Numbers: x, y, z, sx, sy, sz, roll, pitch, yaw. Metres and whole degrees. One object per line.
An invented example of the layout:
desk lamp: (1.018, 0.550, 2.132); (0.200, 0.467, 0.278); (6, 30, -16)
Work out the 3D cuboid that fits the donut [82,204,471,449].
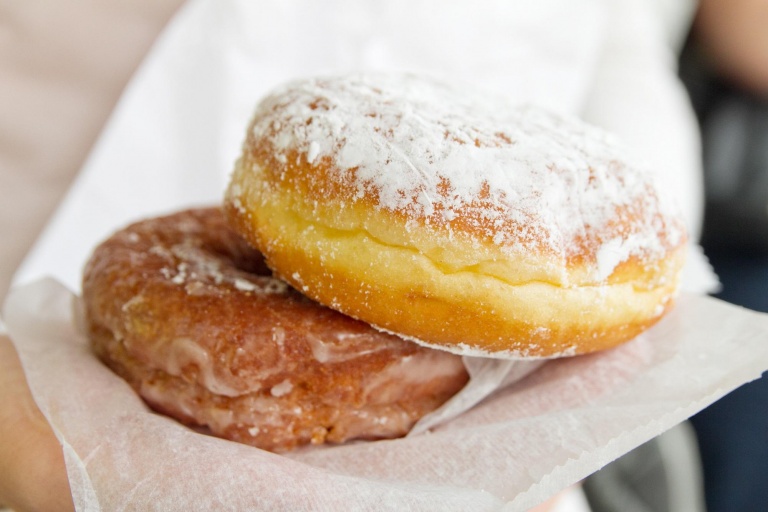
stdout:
donut: (-0.273, 0.134, 1.368); (0.564, 0.573, 0.190); (43, 56, -26)
